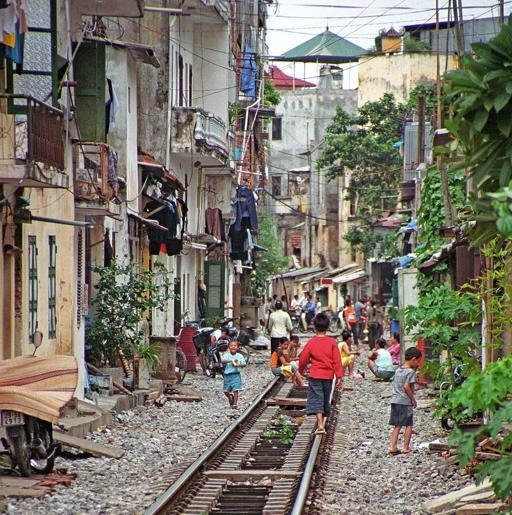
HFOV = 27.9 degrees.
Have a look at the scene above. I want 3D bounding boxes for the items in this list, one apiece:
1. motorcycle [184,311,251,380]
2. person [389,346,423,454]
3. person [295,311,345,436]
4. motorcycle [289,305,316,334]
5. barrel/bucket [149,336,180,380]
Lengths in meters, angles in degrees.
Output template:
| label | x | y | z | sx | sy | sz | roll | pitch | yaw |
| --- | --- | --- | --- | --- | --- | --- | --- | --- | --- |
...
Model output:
| label | x | y | z | sx | sy | sz | roll | pitch | yaw |
| --- | --- | --- | --- | --- | --- | --- | --- | --- | --- |
| motorcycle | -0.974 | 2.102 | 24.478 | 1.090 | 1.621 | 2.345 | -1 | 1 | -2 |
| person | 1.911 | 1.808 | 13.117 | 0.444 | 0.954 | 0.621 | -3 | -2 | -2 |
| person | 0.882 | 1.555 | 13.843 | 0.581 | 1.057 | 0.682 | -3 | -2 | 3 |
| motorcycle | 2.149 | 2.995 | 48.358 | 0.808 | 1.322 | 2.017 | -1 | -5 | 13 |
| barrel/bucket | -1.767 | 1.927 | 19.850 | 0.626 | 1.168 | 0.669 | 1 | 2 | 0 |
